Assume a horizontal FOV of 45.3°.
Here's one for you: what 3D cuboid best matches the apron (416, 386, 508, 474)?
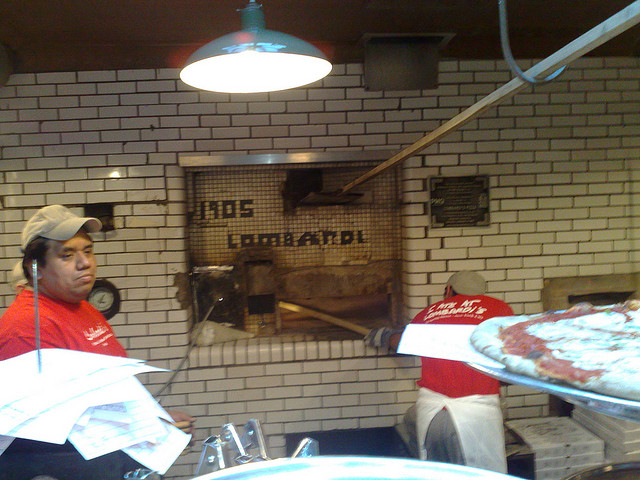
[{"bbox_3d":[0.886,1.191,4.846,0.534,0.480,0.175,-1,-2,8],"label":"apron"}]

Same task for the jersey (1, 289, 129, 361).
[{"bbox_3d":[-1.434,0.459,4.194,0.474,0.401,0.738,-22,-18,22],"label":"jersey"}]

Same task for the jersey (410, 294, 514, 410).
[{"bbox_3d":[0.875,0.692,4.848,0.855,0.636,0.137,3,12,25],"label":"jersey"}]

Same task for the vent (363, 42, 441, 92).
[{"bbox_3d":[0.598,-1.254,5.578,0.550,0.308,0.226,-1,-1,1],"label":"vent"}]
